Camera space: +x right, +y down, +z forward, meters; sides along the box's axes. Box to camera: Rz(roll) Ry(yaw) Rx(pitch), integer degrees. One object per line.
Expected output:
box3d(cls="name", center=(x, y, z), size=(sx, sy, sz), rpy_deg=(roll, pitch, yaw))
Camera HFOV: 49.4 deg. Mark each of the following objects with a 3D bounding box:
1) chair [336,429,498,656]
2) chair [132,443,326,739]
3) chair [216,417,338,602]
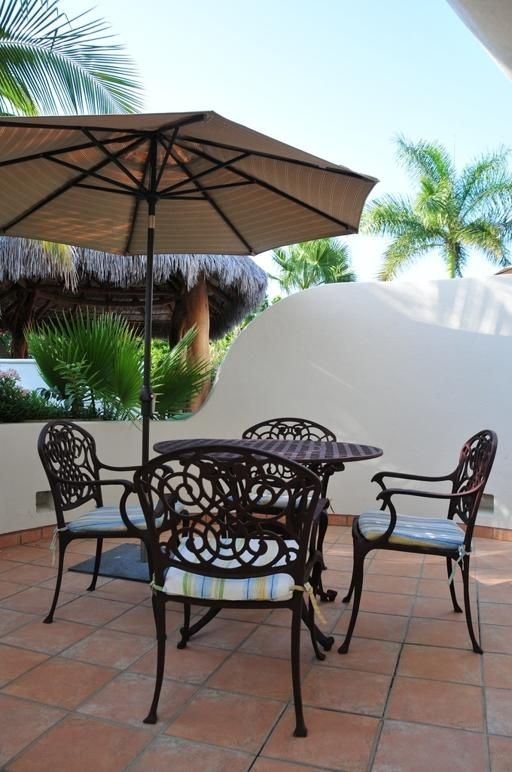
box3d(cls="chair", center=(0.649, 0.591, 2.320), size=(0.581, 0.861, 0.569), rpy_deg=(3, 0, 21))
box3d(cls="chair", center=(-0.063, 0.541, 1.840), size=(0.626, 0.890, 0.693), rpy_deg=(3, 10, 17))
box3d(cls="chair", center=(0.180, 0.796, 3.899), size=(0.823, 1.251, 0.926), rpy_deg=(5, 5, 11))
